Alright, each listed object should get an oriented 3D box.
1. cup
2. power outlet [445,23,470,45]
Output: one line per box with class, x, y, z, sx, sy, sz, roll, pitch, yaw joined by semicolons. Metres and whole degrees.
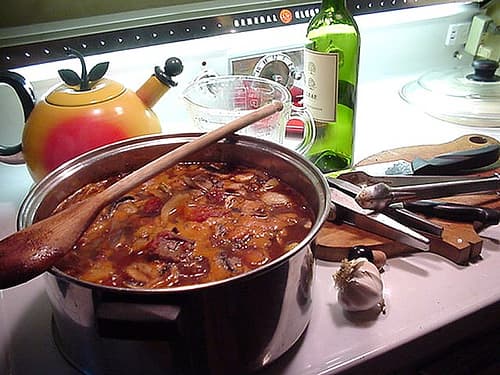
cup;-0.009;-0.194;1.048;0.304;0.168;0.226;16;38;25
power outlet;0.886;-0.651;1.677;0.091;0.097;0.034;-10;35;-7
